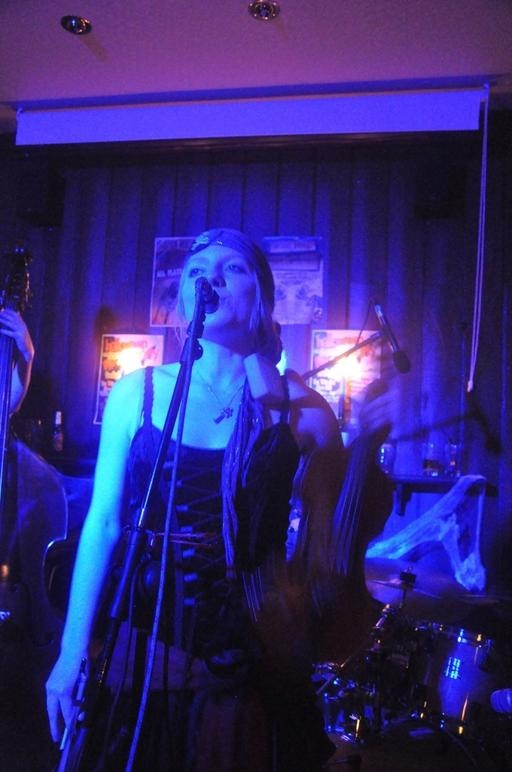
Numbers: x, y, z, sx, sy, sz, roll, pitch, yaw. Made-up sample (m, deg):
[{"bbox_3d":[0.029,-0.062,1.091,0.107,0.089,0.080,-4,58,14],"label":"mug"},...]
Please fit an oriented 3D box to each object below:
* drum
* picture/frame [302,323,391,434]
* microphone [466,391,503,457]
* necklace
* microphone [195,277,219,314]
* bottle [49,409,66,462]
[{"bbox_3d":[0.698,1.045,2.280,0.252,0.234,0.174,4,-2,32],"label":"drum"},{"bbox_3d":[0.407,-0.044,2.915,0.354,0.014,0.647,1,-42,10],"label":"picture/frame"},{"bbox_3d":[1.076,0.183,3.125,0.086,0.413,0.081,9,-29,-40],"label":"microphone"},{"bbox_3d":[-0.087,0.018,1.521,0.089,0.134,0.035,6,-13,-13],"label":"necklace"},{"bbox_3d":[-0.104,-0.190,1.365,0.063,0.066,0.058,7,-2,-29],"label":"microphone"},{"bbox_3d":[-1.062,0.265,3.459,0.061,0.227,0.050,7,-9,-42],"label":"bottle"}]
